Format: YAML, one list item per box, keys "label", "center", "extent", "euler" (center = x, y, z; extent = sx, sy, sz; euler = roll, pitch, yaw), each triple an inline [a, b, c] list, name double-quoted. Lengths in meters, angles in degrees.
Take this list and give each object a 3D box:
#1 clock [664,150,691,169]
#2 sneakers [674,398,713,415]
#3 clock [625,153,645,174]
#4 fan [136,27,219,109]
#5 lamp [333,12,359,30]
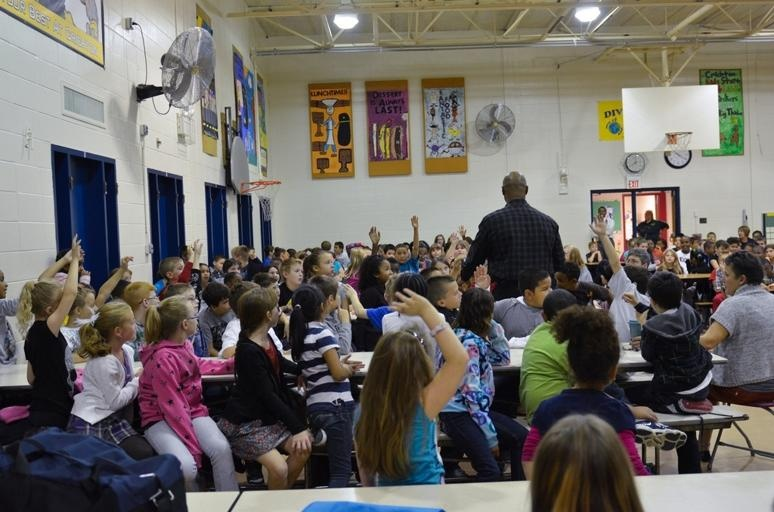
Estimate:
- label: "clock"
  center: [7.039, -2.273, 16.375]
  extent: [0.681, 0.427, 0.157]
  euler: [-2, 3, -9]
- label: "sneakers"
  center: [2.498, 1.207, 5.466]
  extent: [0.196, 0.073, 0.136]
  euler: [0, -3, -2]
- label: "clock"
  center: [5.970, -2.178, 16.318]
  extent: [0.555, 0.506, 0.052]
  euler: [-2, 3, -7]
- label: "fan"
  center: [-2.706, -2.403, 8.560]
  extent: [0.746, 1.095, 0.902]
  euler: [21, 16, 16]
- label: "lamp"
  center: [-0.691, -3.978, 11.539]
  extent: [0.345, 0.196, 0.509]
  euler: [-1, 3, 9]
